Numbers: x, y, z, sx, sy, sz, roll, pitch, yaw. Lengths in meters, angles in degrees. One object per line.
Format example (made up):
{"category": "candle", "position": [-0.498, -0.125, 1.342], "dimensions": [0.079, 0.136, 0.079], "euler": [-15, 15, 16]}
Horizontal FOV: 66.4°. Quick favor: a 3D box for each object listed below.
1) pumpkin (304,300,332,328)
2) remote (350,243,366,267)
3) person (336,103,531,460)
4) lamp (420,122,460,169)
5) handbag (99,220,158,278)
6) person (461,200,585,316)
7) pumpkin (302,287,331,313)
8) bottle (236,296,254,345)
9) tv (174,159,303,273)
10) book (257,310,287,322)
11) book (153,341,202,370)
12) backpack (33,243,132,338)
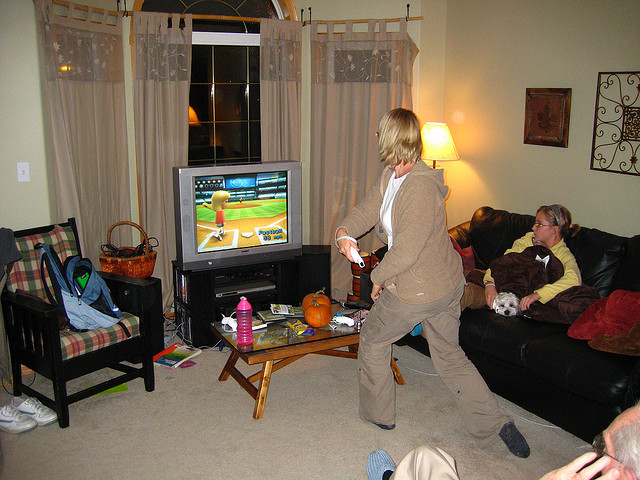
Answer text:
{"category": "pumpkin", "position": [-0.010, 0.506, 3.404], "dimensions": [0.149, 0.167, 0.157], "euler": [-2, 5, -7]}
{"category": "remote", "position": [0.213, 0.084, 2.777], "dimensions": [0.037, 0.044, 0.175], "euler": [-34, 26, 6]}
{"category": "person", "position": [0.607, 0.238, 2.887], "dimensions": [1.039, 1.954, 0.446], "euler": [2, 18, 11]}
{"category": "lamp", "position": [1.135, -0.797, 4.809], "dimensions": [0.379, 0.665, 0.468], "euler": [0, 11, 6]}
{"category": "handbag", "position": [-1.633, 0.077, 4.130], "dimensions": [0.476, 0.500, 0.358], "euler": [3, 12, 22]}
{"category": "person", "position": [1.466, 0.134, 3.693], "dimensions": [0.983, 0.424, 0.763], "euler": [-25, 28, -4]}
{"category": "pumpkin", "position": [-0.026, 0.416, 3.535], "dimensions": [0.154, 0.174, 0.162], "euler": [0, 10, -6]}
{"category": "bottle", "position": [-0.514, 0.516, 3.268], "dimensions": [0.119, 0.300, 0.242], "euler": [-5, 18, -9]}
{"category": "tv", "position": [-0.696, -0.197, 4.064], "dimensions": [0.829, 0.757, 0.299], "euler": [-3, 10, -17]}
{"category": "book", "position": [-0.353, 0.553, 3.578], "dimensions": [0.188, 0.038, 0.166], "euler": [-7, 19, -17]}
{"category": "book", "position": [-1.165, 0.929, 3.924], "dimensions": [0.272, 0.041, 0.350], "euler": [9, 21, 29]}
{"category": "backpack", "position": [-1.625, 0.342, 3.449], "dimensions": [0.567, 0.676, 0.491], "euler": [-8, 4, 19]}
